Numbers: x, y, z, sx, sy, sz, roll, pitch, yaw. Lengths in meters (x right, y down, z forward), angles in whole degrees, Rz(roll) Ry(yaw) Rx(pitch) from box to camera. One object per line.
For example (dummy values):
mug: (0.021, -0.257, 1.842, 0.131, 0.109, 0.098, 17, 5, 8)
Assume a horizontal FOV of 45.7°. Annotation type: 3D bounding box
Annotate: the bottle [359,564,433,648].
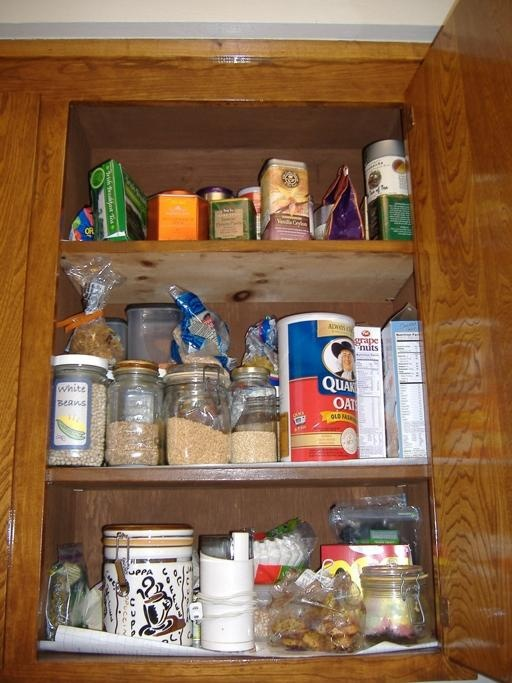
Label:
bottle: (0.191, 0.378, 0.883, 0.100, 0.094, 0.102, 0, -13, -1)
